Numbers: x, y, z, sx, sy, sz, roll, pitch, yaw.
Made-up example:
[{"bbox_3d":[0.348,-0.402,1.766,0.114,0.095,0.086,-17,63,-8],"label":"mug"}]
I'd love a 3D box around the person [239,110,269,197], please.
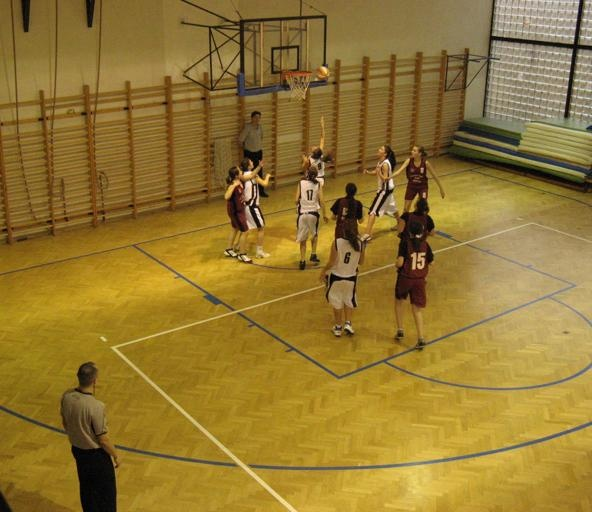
[{"bbox_3d":[-0.943,-2.291,12.679,0.613,1.927,0.584,-13,33,-25],"label":"person"}]

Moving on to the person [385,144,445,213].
[{"bbox_3d":[2.311,-1.510,10.909,0.481,1.214,0.732,4,20,10],"label":"person"}]

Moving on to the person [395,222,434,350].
[{"bbox_3d":[1.505,0.386,7.300,0.436,1.736,0.561,4,20,13],"label":"person"}]

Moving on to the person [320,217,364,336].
[{"bbox_3d":[0.643,0.227,7.665,0.504,1.784,1.220,2,20,6],"label":"person"}]

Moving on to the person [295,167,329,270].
[{"bbox_3d":[0.240,-0.654,9.557,0.469,1.779,0.571,0,19,0],"label":"person"}]

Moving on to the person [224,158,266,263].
[{"bbox_3d":[-0.897,-0.833,9.998,0.764,1.753,1.002,-1,19,-3],"label":"person"}]

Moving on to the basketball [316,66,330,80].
[{"bbox_3d":[0.552,-3.736,11.581,0.225,0.271,0.437,0,20,0],"label":"basketball"}]
